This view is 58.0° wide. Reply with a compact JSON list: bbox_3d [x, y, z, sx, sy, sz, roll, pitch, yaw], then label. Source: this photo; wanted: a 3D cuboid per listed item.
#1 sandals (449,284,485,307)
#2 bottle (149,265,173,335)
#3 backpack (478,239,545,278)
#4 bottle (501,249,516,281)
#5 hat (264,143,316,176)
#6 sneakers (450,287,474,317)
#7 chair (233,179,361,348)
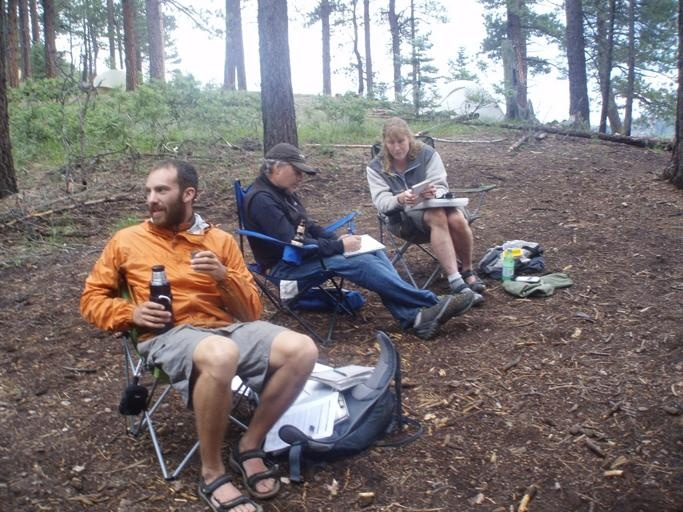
[{"bbox_3d":[1.043,0.340,5.358,0.383,0.164,0.144,6,8,42],"label":"sandals"},{"bbox_3d":[-1.163,0.290,3.965,0.134,0.462,0.114,-3,13,0],"label":"bottle"},{"bbox_3d":[1.697,0.034,6.075,0.505,0.168,0.394,-7,10,-28],"label":"backpack"},{"bbox_3d":[1.596,0.075,5.893,0.123,0.277,0.302,1,12,16],"label":"bottle"},{"bbox_3d":[-0.446,-0.811,5.274,0.420,0.183,0.256,6,10,-13],"label":"hat"},{"bbox_3d":[1.013,0.380,5.166,0.168,0.204,0.269,0,12,14],"label":"sneakers"},{"bbox_3d":[-0.227,0.035,5.504,1.325,1.333,1.237,-7,17,-24],"label":"chair"}]
